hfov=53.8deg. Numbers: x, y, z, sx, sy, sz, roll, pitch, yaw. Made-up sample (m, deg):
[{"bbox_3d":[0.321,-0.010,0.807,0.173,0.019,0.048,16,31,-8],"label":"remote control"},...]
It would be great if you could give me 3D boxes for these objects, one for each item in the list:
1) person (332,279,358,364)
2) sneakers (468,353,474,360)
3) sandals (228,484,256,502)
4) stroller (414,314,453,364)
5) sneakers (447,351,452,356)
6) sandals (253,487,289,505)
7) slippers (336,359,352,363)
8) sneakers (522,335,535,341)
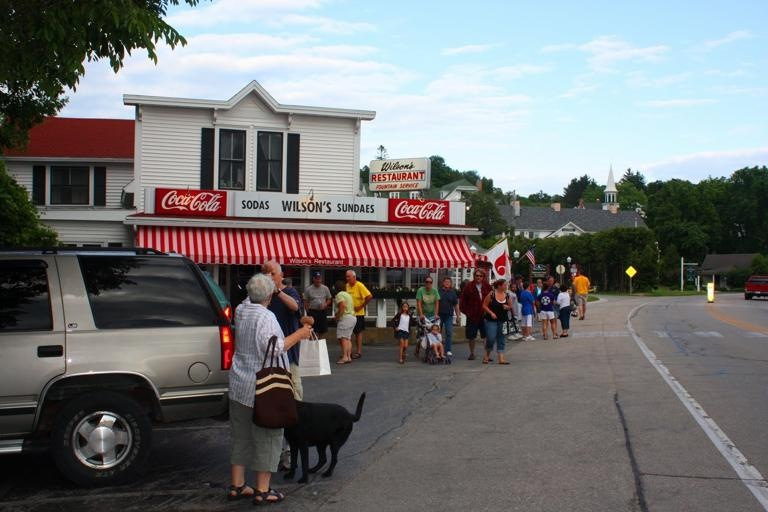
[{"bbox_3d":[-0.964,1.634,19.137,0.517,2.018,1.184,-1,1,-3],"label":"person"},{"bbox_3d":[2.266,2.582,19.563,0.145,0.146,0.370,-2,-7,12],"label":"sneakers"},{"bbox_3d":[-1.726,2.844,9.177,0.324,0.128,0.149,-1,1,-39],"label":"sandals"},{"bbox_3d":[1.269,2.065,18.888,0.549,1.085,1.103,1,6,-22],"label":"stroller"},{"bbox_3d":[1.682,2.455,19.230,0.108,0.134,0.320,-2,-9,-5],"label":"sneakers"},{"bbox_3d":[-1.363,2.865,9.143,0.400,0.157,0.144,0,1,-24],"label":"sandals"},{"bbox_3d":[-0.979,2.581,18.779,0.359,0.094,0.424,-1,1,-1],"label":"slippers"},{"bbox_3d":[4.790,2.699,24.959,0.426,0.187,0.167,1,3,-9],"label":"sneakers"}]
